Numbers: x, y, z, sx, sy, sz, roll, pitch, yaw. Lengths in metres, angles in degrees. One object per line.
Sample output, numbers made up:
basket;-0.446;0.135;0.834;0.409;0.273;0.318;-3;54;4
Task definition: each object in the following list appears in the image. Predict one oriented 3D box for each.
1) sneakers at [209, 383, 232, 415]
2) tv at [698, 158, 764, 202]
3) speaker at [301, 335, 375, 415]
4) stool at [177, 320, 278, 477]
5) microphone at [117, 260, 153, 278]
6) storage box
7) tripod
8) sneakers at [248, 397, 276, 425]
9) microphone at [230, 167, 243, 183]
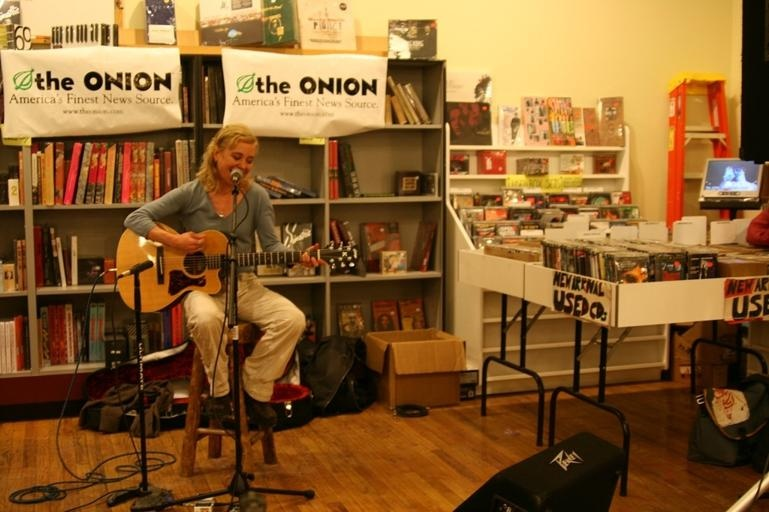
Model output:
sneakers;-1.047;0.900;4.085;0.139;0.226;0.082;-1;6;-3
tv;3.367;-0.716;6.310;0.505;0.407;0.179;5;11;19
speaker;-0.361;1.005;5.462;0.730;0.620;0.702;-6;-3;-7
stool;-1.125;0.951;4.395;0.641;0.809;0.654;0;-1;30
microphone;-1.535;0.087;4.013;0.188;0.046;0.053;-21;15;-25
storage box;0.251;0.865;5.331;0.680;0.476;0.671;-1;0;-17
tripod;-0.991;0.465;4.199;0.847;1.986;1.173;-6;7;-42
sneakers;-0.792;1.005;4.265;0.217;0.193;0.131;-3;4;-12
microphone;-0.856;-0.448;3.744;0.050;0.080;0.153;-1;5;-6
